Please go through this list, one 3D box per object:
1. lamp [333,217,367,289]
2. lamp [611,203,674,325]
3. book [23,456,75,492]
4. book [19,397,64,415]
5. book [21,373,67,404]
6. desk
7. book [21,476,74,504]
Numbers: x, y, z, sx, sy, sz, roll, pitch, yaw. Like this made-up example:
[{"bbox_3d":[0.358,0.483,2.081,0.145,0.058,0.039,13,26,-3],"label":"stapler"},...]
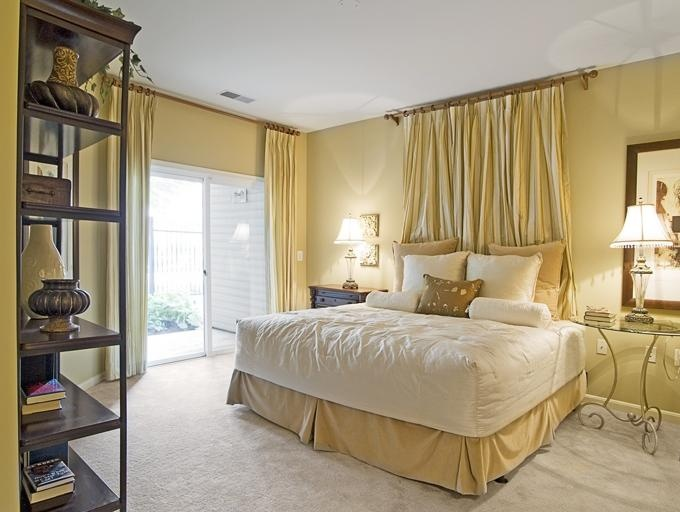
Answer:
[{"bbox_3d":[0.135,-0.058,5.977,0.341,0.819,0.770,1,8,3],"label":"lamp"},{"bbox_3d":[2.487,0.013,4.060,0.413,0.973,0.634,6,10,34],"label":"lamp"},{"bbox_3d":[-1.429,1.060,2.411,0.131,0.032,0.134,8,-1,39],"label":"book"},{"bbox_3d":[-1.460,0.723,2.383,0.122,0.031,0.124,-5,-8,40],"label":"book"},{"bbox_3d":[-1.493,0.664,2.461,0.163,0.039,0.161,3,-2,-38],"label":"book"},{"bbox_3d":[2.336,0.944,4.068,0.922,1.075,0.978,8,-9,-31],"label":"desk"},{"bbox_3d":[-1.433,1.132,2.373,0.246,0.071,0.093,1,8,-1],"label":"book"}]
